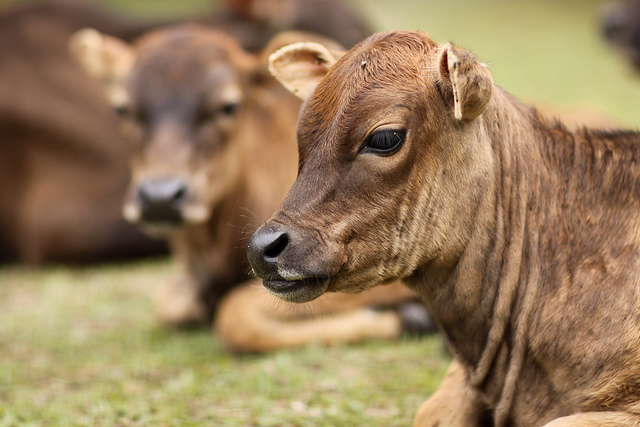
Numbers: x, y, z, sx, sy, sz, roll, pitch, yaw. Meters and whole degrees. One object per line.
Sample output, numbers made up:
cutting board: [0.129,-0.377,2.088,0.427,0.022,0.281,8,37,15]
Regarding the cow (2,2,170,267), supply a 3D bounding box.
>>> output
cow: [-2.206,-0.621,7.616,2.025,2.093,0.892,28,28,36]
